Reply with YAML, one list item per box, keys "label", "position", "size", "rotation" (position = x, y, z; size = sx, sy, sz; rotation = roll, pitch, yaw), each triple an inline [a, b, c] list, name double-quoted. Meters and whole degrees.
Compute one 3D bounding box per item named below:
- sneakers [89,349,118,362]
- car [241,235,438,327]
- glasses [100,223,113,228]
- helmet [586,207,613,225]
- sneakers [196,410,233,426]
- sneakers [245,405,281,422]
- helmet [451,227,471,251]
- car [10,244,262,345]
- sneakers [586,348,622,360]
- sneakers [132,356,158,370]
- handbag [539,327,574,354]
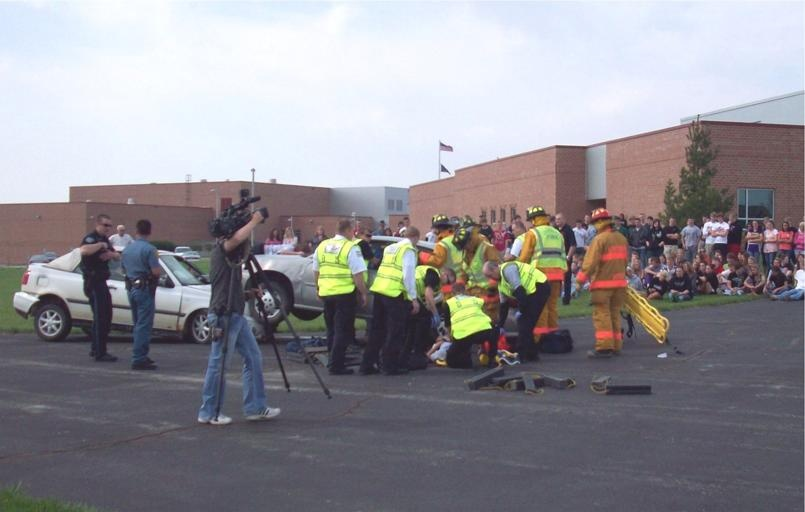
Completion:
- label: "sneakers"
  position: [-5.993, 2.023, 21.895]
  size: [0.591, 0.249, 0.213]
  rotation: [0, 1, -19]
- label: "car"
  position: [-1.420, 0.568, 24.263]
  size: [4.198, 1.562, 1.879]
  rotation: [-1, 4, 5]
- label: "glasses"
  position: [-6.011, -0.603, 22.053]
  size: [0.145, 0.086, 0.183]
  rotation: [-1, -1, -35]
- label: "helmet"
  position: [4.134, -0.834, 23.256]
  size: [0.503, 0.178, 0.497]
  rotation: [-4, 7, -5]
- label: "sneakers"
  position: [-3.153, 2.703, 18.178]
  size: [0.491, 0.207, 0.231]
  rotation: [-2, -1, -4]
- label: "sneakers"
  position: [-2.374, 2.670, 18.370]
  size: [0.604, 0.279, 0.217]
  rotation: [-5, 2, -11]
- label: "helmet"
  position: [1.163, -0.335, 22.200]
  size: [0.298, 0.427, 0.343]
  rotation: [-14, -48, 40]
- label: "car"
  position: [-6.190, 0.766, 23.839]
  size: [5.078, 1.735, 2.301]
  rotation: [0, 0, 1]
- label: "sneakers"
  position: [4.068, 1.996, 22.209]
  size: [0.631, 0.291, 0.233]
  rotation: [3, -2, -4]
- label: "sneakers"
  position: [-4.994, 2.123, 21.133]
  size: [0.547, 0.233, 0.200]
  rotation: [1, -1, -10]
- label: "handbag"
  position: [3.218, 1.826, 22.903]
  size: [0.811, 0.489, 0.442]
  rotation: [2, -1, -11]
